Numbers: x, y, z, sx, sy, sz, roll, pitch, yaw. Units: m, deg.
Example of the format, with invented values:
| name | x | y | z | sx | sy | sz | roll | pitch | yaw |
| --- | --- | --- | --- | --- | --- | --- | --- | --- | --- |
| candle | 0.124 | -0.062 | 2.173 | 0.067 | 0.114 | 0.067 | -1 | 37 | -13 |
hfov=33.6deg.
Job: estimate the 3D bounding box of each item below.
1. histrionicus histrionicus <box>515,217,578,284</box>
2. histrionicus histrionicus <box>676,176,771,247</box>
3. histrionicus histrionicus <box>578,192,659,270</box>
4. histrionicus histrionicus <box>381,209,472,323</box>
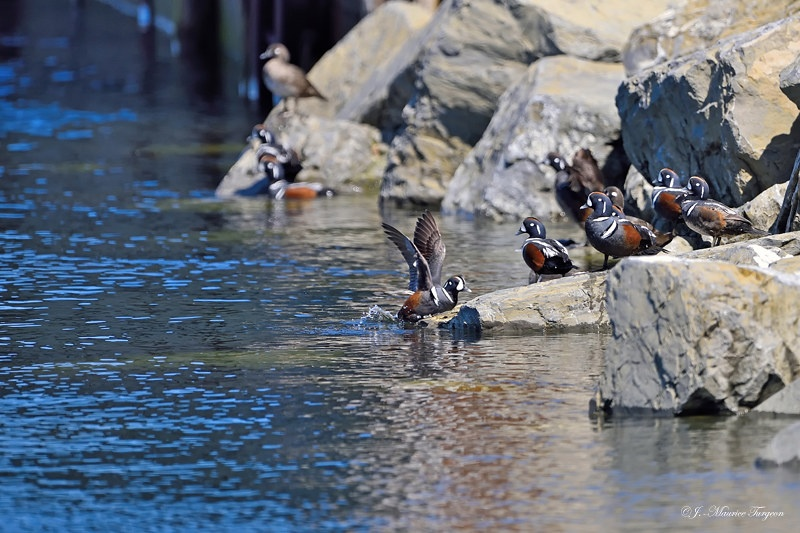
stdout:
| name | x | y | z | sx | sy | sz | roll | pitch | yaw |
| --- | --- | --- | --- | --- | --- | --- | --- | --- | --- |
| histrionicus histrionicus | 1.520 | -0.160 | 13.581 | 0.451 | 0.596 | 0.864 | -8 | 17 | -38 |
| histrionicus histrionicus | 3.304 | -0.515 | 13.341 | 1.049 | 0.665 | 0.429 | 16 | 16 | 42 |
| histrionicus histrionicus | 2.252 | -0.373 | 13.290 | 1.005 | 0.708 | 0.514 | 0 | 16 | -16 |
| histrionicus histrionicus | 0.231 | 0.034 | 13.298 | 0.512 | 1.108 | 0.720 | -9 | 12 | -39 |
